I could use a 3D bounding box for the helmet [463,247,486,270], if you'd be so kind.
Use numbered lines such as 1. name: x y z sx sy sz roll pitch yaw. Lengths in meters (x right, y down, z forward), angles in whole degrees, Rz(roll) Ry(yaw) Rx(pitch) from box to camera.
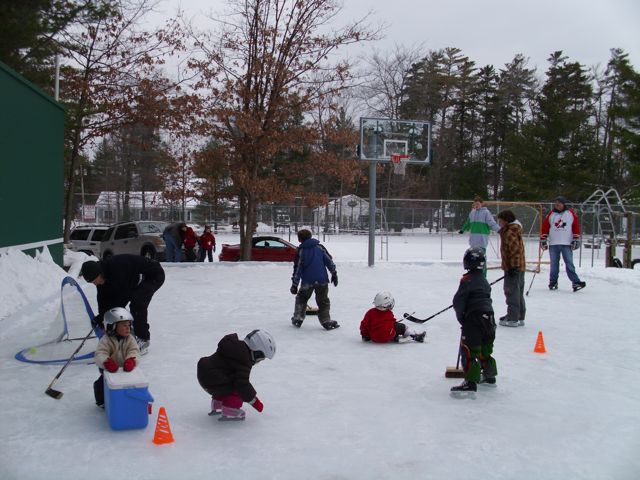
1. helmet: 2.105 0.261 8.944 0.307 0.334 0.261 3 -4 -9

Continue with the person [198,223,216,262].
1. person: -3.733 0.091 21.869 0.526 1.218 3.114 1 -1 -10

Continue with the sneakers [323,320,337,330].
1. sneakers: 0.177 1.513 11.795 0.185 0.096 0.144 3 0 -21

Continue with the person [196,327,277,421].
1. person: -0.895 1.583 7.991 0.972 1.335 0.920 3 7 -24

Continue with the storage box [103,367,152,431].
1. storage box: -2.260 1.733 7.813 0.496 0.565 0.761 -1 4 -22

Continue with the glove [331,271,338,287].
1. glove: 0.268 0.728 12.244 0.149 0.257 0.086 -2 5 1

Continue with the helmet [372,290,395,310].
1. helmet: 1.044 0.964 10.809 0.224 0.297 0.318 16 28 27

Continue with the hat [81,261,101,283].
1. hat: -2.987 0.422 8.725 0.219 0.297 0.323 1 -1 41

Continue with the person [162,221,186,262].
1. person: -4.366 0.079 19.908 0.599 1.199 0.843 1 0 -14

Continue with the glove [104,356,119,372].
1. glove: -2.457 1.467 7.795 0.122 0.069 0.174 -26 -22 -11

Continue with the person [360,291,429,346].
1. person: 1.233 1.343 11.041 1.149 1.016 0.754 5 10 27

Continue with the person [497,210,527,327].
1. person: 3.507 0.521 12.126 0.477 2.022 0.564 1 0 16

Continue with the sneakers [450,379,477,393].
1. sneakers: 1.890 1.924 8.721 0.373 0.263 0.134 2 -10 9

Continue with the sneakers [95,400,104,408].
1. sneakers: -2.671 2.000 8.080 0.082 0.044 0.133 6 6 -23

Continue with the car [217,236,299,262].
1. car: -2.107 0.625 22.353 2.480 0.973 1.285 -2 2 -6

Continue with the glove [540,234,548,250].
1. glove: 5.222 0.053 15.410 0.105 0.334 0.223 2 -6 2

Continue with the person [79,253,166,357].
1. person: -3.097 0.809 9.495 0.962 1.459 1.215 -2 -8 32

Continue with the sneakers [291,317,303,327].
1. sneakers: -0.410 1.477 11.907 0.167 0.154 0.139 -5 -10 25

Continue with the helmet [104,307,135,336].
1. helmet: -2.393 0.971 7.966 0.311 0.297 0.245 -1 -7 24

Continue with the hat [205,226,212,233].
1. hat: -3.532 -0.328 21.147 0.197 0.226 0.150 0 7 -23

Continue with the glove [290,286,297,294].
1. glove: -0.476 0.900 11.910 0.129 0.141 0.128 -2 -4 27

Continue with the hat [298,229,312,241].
1. hat: -0.265 -0.077 11.977 0.167 0.237 0.226 2 5 0

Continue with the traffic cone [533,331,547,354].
1. traffic cone: 3.482 1.611 10.506 0.206 0.328 0.481 1 -1 19

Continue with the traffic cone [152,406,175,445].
1. traffic cone: -1.778 2.066 7.566 0.232 0.426 0.506 1 -1 -14

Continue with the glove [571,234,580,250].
1. glove: 5.753 0.071 14.904 0.100 0.320 0.211 2 -3 -8

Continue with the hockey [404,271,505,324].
1. hockey: 2.457 1.106 12.432 1.727 0.620 0.155 -20 31 19

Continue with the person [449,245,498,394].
1. person: 2.033 1.061 8.809 0.716 1.809 0.441 1 0 -37
